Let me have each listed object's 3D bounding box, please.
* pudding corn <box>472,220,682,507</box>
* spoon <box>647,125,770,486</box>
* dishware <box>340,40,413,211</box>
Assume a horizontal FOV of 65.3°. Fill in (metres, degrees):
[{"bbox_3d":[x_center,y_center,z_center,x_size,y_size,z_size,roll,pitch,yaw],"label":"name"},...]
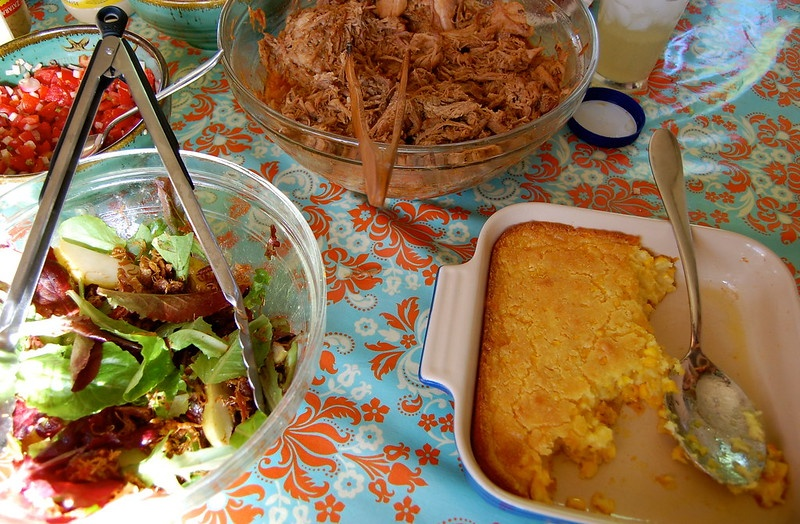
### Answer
[{"bbox_3d":[0.378,0.236,1.331,0.428,0.287,0.549,7,41,7],"label":"pudding corn"},{"bbox_3d":[0.630,0.070,1.338,0.143,0.103,0.788,-5,83,-14],"label":"spoon"},{"bbox_3d":[-0.031,-0.271,1.482,0.158,0.298,0.432,-7,50,3],"label":"dishware"}]
